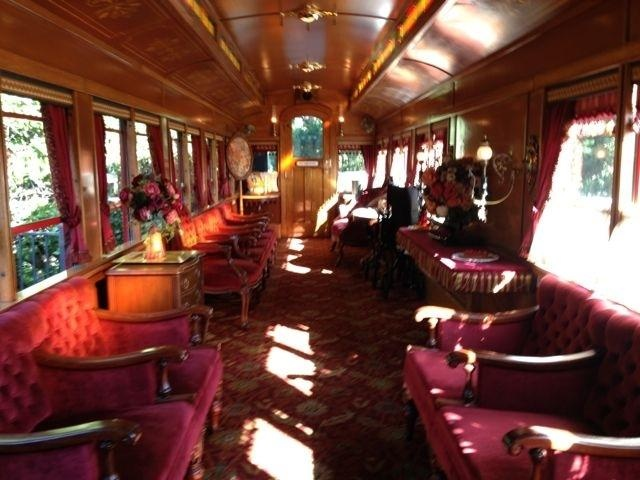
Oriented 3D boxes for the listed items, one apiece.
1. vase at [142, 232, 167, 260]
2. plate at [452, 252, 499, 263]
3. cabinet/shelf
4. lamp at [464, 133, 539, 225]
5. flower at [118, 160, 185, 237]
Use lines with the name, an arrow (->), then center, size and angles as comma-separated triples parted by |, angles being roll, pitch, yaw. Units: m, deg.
vase -> -1.681, 0.067, 4.829 | 0.248, 0.271, 0.248 | 4, -1, -18
plate -> 1.571, 0.172, 4.721 | 0.465, 0.050, 0.378 | 3, 13, 16
cabinet/shelf -> -1.631, 0.217, 4.726 | 0.556, 0.832, 0.799 | 1, 9, -1
lamp -> 1.961, -0.670, 5.215 | 0.745, 1.518, 0.693 | 3, 8, 19
flower -> -1.653, -0.430, 4.890 | 0.554, 0.635, 0.613 | -18, 7, -3
